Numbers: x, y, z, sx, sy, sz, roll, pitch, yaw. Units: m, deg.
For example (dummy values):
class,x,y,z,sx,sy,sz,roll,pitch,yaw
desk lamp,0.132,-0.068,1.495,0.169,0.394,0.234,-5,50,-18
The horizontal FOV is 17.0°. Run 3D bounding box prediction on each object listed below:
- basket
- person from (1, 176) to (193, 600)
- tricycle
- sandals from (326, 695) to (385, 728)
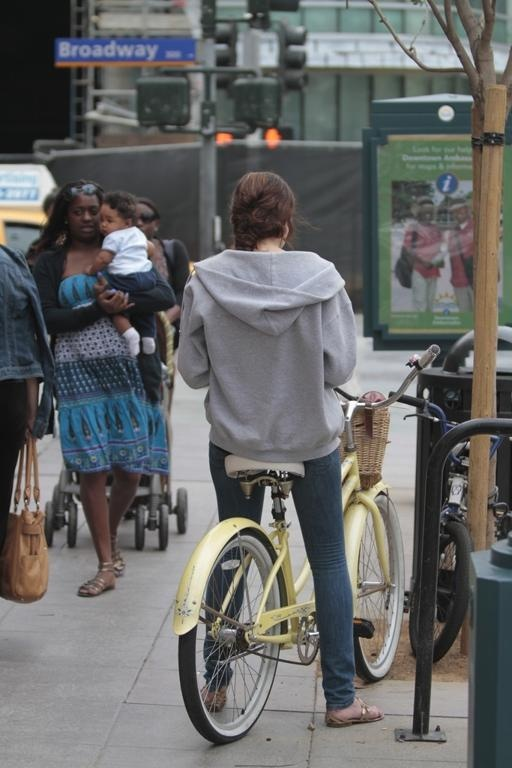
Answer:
class,x,y,z,sx,sy,sz,roll,pitch,yaw
basket,0.457,0.246,6.884,0.231,0.401,0.296,-1,7,8
person,-0.835,-0.023,8.251,0.585,2.209,0.617,1,2,30
tricycle,0.853,0.478,7.320,0.591,1.348,0.731,7,10,-1
sandals,0.381,1.257,6.481,0.176,0.104,0.097,-9,7,-22
